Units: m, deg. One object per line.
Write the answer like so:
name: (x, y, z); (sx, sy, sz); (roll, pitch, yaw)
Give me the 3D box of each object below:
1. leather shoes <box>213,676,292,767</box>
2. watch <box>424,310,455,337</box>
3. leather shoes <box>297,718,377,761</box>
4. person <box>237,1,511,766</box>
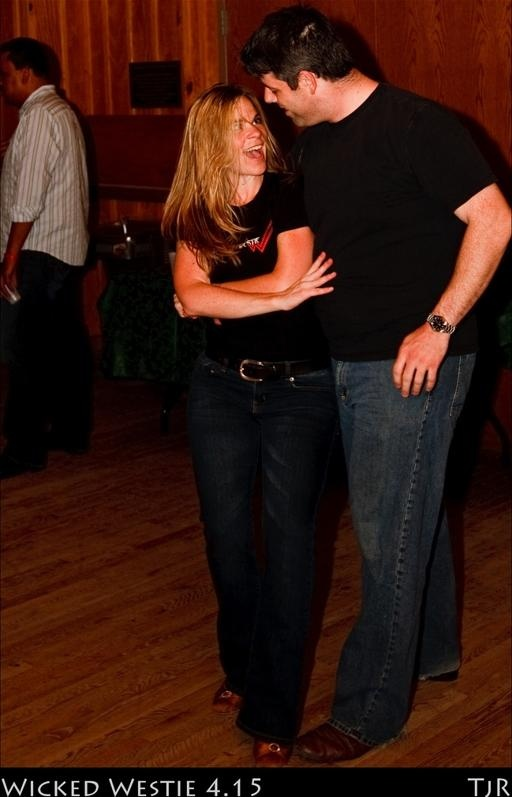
leather shoes: (-0.010, 0.671, 1.335); (0.065, 0.080, 0.190); (-14, 44, -24)
watch: (0.285, -0.116, 0.997); (0.042, 0.028, 0.020); (17, 31, 19)
leather shoes: (0.153, 0.693, 1.288); (0.128, 0.073, 0.031); (12, 0, 14)
person: (0.208, 0.019, 1.228); (0.355, 1.295, 0.588); (-8, 31, -23)
